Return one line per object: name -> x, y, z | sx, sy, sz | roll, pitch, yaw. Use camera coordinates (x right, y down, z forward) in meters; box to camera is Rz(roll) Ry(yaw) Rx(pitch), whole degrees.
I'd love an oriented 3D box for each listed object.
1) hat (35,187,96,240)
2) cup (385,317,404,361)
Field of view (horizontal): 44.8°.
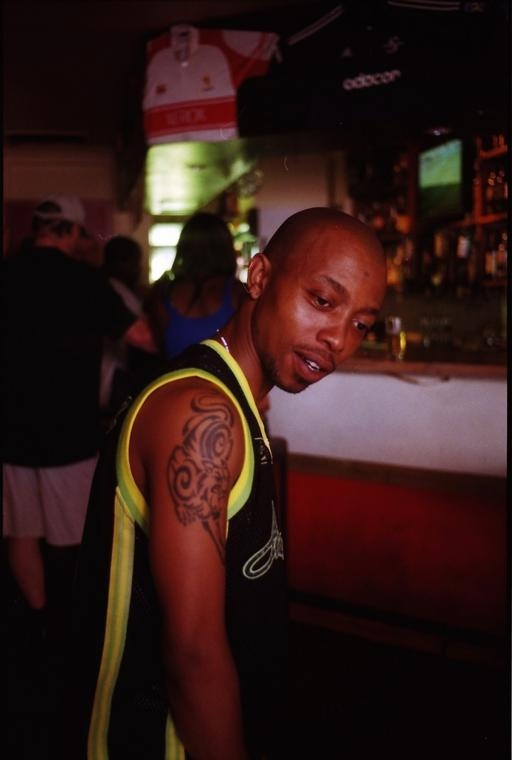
hat -> -0.394, -0.351, 1.282 | 0.085, 0.108, 0.068 | 3, 10, 2
cup -> 0.392, -0.125, 1.778 | 0.054, 0.102, 0.191 | 0, 12, 10
